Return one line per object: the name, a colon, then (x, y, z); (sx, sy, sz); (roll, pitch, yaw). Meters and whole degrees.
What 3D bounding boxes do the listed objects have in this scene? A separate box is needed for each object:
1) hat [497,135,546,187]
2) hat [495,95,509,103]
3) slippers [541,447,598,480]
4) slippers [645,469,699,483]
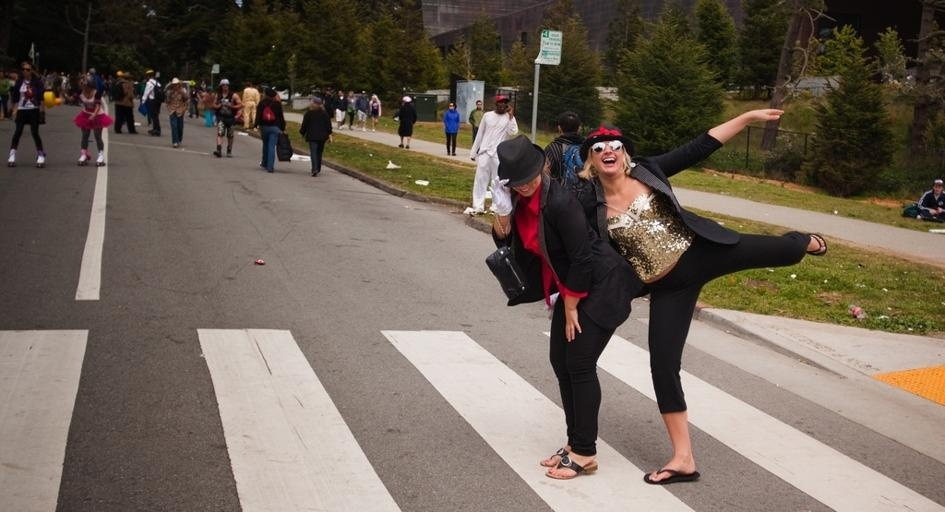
hat: (0.542, -1.049, 8.009); (0.546, 0.568, 0.321); (6, 12, 1)
hat: (0.686, -3.572, 16.458); (0.307, 0.136, 0.426); (-1, 6, -5)
slippers: (1.134, 2.360, 8.222); (0.483, 0.163, 0.364); (0, 8, -3)
slippers: (2.297, 2.486, 8.244); (0.579, 0.128, 0.216); (1, 4, -6)
